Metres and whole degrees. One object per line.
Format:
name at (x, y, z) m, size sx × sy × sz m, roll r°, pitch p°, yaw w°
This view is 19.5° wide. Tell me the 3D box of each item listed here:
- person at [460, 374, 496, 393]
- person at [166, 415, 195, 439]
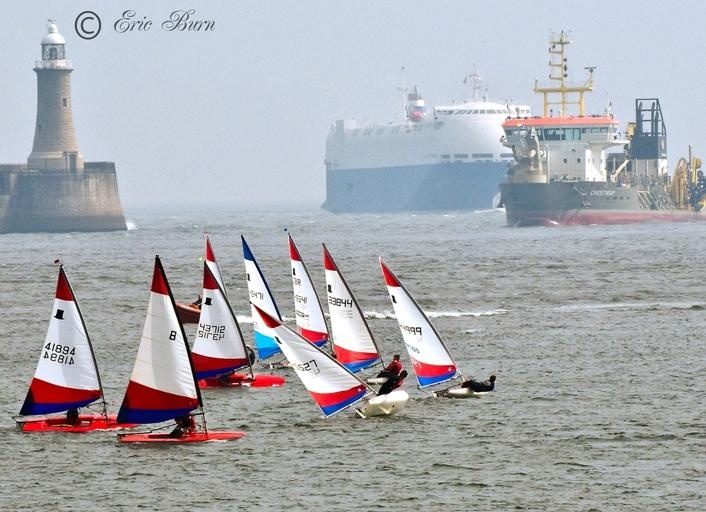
person at (7.356, 7.724, 120.475) m, size 2.135 × 1.147 × 0.919 m, roll 8°, pitch -11°, yaw 12°
person at (-9.751, 9.776, 116.497) m, size 1.406 × 1.347 × 0.628 m, roll -1°, pitch 6°, yaw -4°
